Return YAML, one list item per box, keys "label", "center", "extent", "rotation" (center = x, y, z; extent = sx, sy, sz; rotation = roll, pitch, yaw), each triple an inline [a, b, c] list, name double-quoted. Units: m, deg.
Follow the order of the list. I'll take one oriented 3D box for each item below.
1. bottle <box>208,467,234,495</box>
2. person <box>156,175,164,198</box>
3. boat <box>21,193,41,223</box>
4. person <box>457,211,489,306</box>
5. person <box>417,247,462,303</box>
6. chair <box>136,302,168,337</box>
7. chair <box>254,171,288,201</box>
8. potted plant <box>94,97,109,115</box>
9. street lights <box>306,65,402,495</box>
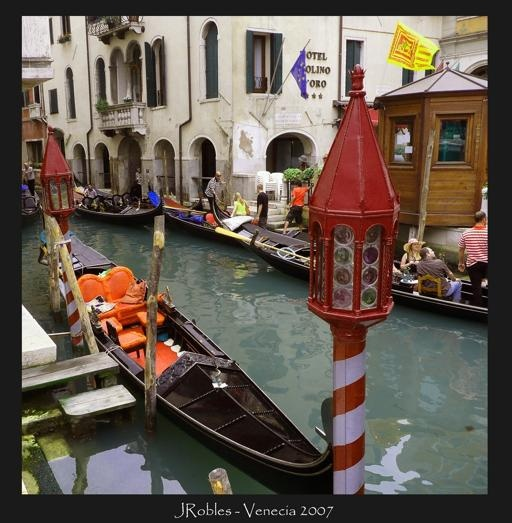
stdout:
- label: "bottle"
  center: [-0.187, 1.187, 3.014]
  extent: [0.097, 0.120, 0.139]
  rotation: [-2, 3, -21]
- label: "person"
  center: [-3.692, -3.011, 21.873]
  extent: [0.267, 0.770, 0.704]
  rotation: [-2, 3, -9]
- label: "boat"
  center: [-7.522, -1.817, 18.861]
  extent: [0.522, 1.099, 1.874]
  rotation: [-2, 3, -21]
- label: "person"
  center: [3.357, -0.024, 8.696]
  extent: [0.411, 1.499, 1.112]
  rotation: [0, 4, 21]
- label: "person"
  center: [3.022, 0.218, 9.233]
  extent: [0.701, 0.911, 0.567]
  rotation: [-1, 3, 5]
- label: "chair"
  center: [-1.424, 0.791, 7.743]
  extent: [0.344, 0.383, 0.376]
  rotation: [5, 6, -22]
- label: "chair"
  center: [0.502, -2.391, 17.691]
  extent: [0.843, 1.274, 0.867]
  rotation: [0, 6, -5]
- label: "potted plant"
  center: [-6.407, -6.688, 23.773]
  extent: [0.616, 0.773, 0.523]
  rotation: [1, -1, 18]
- label: "street lights"
  center: [0.498, 0.150, 2.921]
  extent: [0.474, 2.248, 0.337]
  rotation: [0, 3, 16]
